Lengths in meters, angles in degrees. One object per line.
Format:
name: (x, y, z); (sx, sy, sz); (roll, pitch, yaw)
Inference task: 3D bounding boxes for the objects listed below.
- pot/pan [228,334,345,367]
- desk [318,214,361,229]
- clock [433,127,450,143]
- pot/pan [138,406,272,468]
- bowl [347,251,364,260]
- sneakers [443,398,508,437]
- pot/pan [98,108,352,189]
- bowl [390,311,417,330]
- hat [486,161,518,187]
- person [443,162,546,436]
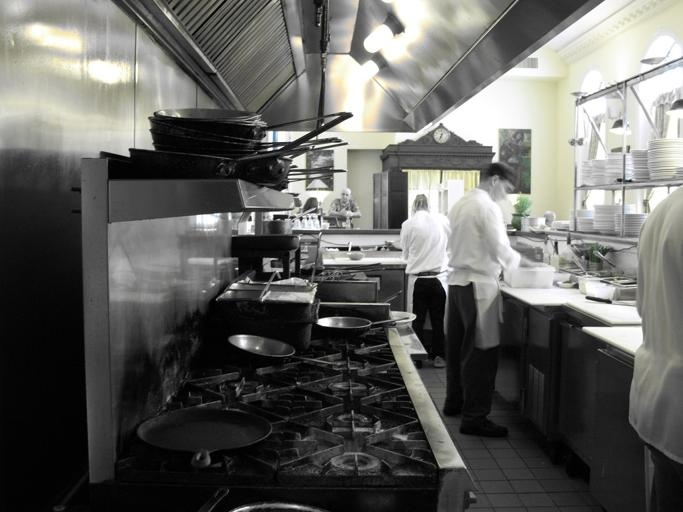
pot/pan: (-0.254, 0.362, 2.128); (0.303, 0.039, 0.179); (14, -3, -5)
desk: (-0.053, -0.629, 9.309); (0.625, 0.319, 0.422); (1, 0, 5)
clock: (2.169, -2.621, 11.915); (0.357, 0.340, 0.111); (-2, 7, -14)
pot/pan: (-0.374, 0.475, 1.484); (0.288, 0.050, 0.365); (-6, 9, -40)
bowl: (0.161, -0.007, 5.832); (0.149, 0.083, 0.172); (0, 7, -2)
sneakers: (0.932, 1.150, 3.813); (0.433, 0.165, 0.145); (0, 2, 2)
pot/pan: (-0.322, -0.285, 1.502); (0.501, 0.166, 0.350); (2, 4, 5)
bowl: (0.312, 0.337, 2.777); (0.108, 0.025, 0.105); (1, 9, 0)
hat: (1.132, -0.590, 3.932); (0.197, 0.180, 0.147); (3, 3, -8)
person: (0.983, 0.276, 3.846); (0.443, 1.860, 0.536); (-1, 7, -10)
